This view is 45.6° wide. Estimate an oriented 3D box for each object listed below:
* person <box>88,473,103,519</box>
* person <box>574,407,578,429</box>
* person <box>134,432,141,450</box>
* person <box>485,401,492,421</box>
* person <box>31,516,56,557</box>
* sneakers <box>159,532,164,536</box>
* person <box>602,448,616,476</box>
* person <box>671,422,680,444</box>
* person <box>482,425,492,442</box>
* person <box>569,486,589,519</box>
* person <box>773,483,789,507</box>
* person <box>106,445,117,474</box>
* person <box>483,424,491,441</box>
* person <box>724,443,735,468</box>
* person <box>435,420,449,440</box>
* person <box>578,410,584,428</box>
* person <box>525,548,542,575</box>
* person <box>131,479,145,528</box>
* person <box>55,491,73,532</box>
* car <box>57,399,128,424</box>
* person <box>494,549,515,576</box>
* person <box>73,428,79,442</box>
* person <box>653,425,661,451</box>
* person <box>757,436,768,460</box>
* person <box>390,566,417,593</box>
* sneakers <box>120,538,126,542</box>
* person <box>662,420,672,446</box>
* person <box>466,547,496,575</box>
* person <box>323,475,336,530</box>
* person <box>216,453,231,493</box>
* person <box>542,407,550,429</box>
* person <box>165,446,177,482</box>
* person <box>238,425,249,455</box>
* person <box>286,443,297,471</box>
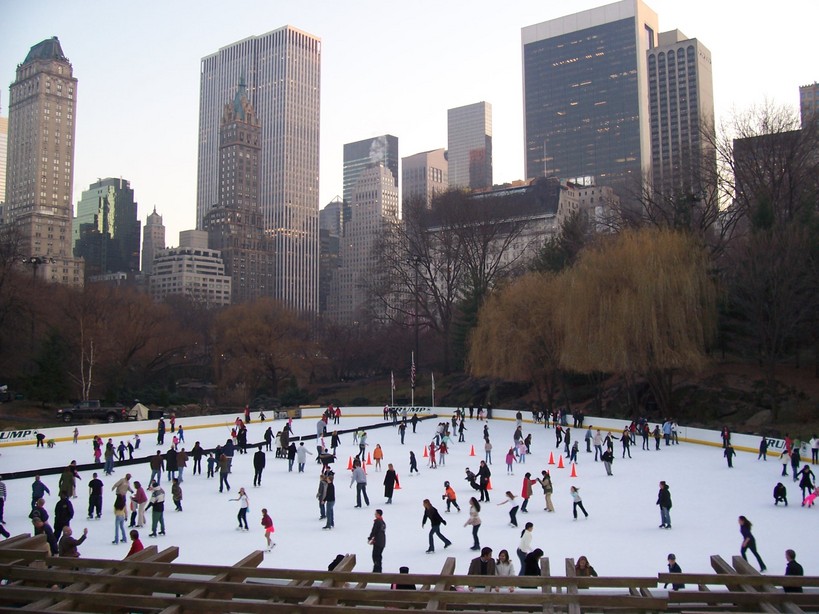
[{"bbox_3d":[-14.801,9.009,46.052,0.619,2.034,1.185,-1,-5,-19],"label":"person"},{"bbox_3d":[11.554,7.802,67.077,0.351,1.051,0.838,-3,-5,7],"label":"person"},{"bbox_3d":[-16.727,8.372,60.196,0.322,1.073,0.933,1,5,10],"label":"person"},{"bbox_3d":[6.273,8.296,76.726,0.415,1.195,1.124,-3,-5,3],"label":"person"},{"bbox_3d":[-14.913,9.424,40.031,0.888,1.541,2.291,0,-6,-22],"label":"person"},{"bbox_3d":[-11.251,10.379,44.459,0.283,0.215,0.101,6,-5,2],"label":"sneakers"},{"bbox_3d":[10.815,8.489,53.170,0.535,1.483,2.453,-3,-5,10],"label":"person"},{"bbox_3d":[16.730,7.992,61.233,0.472,1.276,1.541,-4,-5,16],"label":"person"},{"bbox_3d":[4.960,8.171,62.384,0.516,0.468,1.599,-21,-16,-3],"label":"person"},{"bbox_3d":[8.171,9.313,46.685,0.756,1.546,3.224,-3,-6,9],"label":"person"},{"bbox_3d":[17.901,9.076,47.104,0.642,1.209,2.328,-4,-6,20],"label":"person"},{"bbox_3d":[-16.168,8.279,52.802,0.474,1.657,1.890,-1,-6,-19],"label":"person"},{"bbox_3d":[4.938,8.101,62.229,0.503,0.475,1.614,-15,-6,-1],"label":"person"},{"bbox_3d":[17.809,8.302,54.325,0.449,1.240,1.772,-4,-6,16],"label":"person"},{"bbox_3d":[2.118,7.726,60.537,0.626,0.798,1.301,-1,-9,1],"label":"person"},{"bbox_3d":[11.880,7.824,67.070,0.338,1.005,1.005,-4,-5,13],"label":"person"},{"bbox_3d":[4.989,10.337,39.277,0.704,0.975,0.949,-3,-5,6],"label":"person"},{"bbox_3d":[-12.598,9.225,45.352,0.704,2.124,1.315,-1,-5,-18],"label":"person"},{"bbox_3d":[-15.150,9.076,42.898,0.701,1.544,2.709,-1,-6,-20],"label":"person"},{"bbox_3d":[-21.999,7.546,68.382,4.542,1.645,2.055,3,-12,0],"label":"car"},{"bbox_3d":[3.902,10.585,40.031,0.978,1.458,0.853,-2,-18,9],"label":"person"},{"bbox_3d":[-20.847,8.120,61.244,0.303,0.941,2.087,-1,-6,-20],"label":"person"},{"bbox_3d":[15.217,8.058,59.841,0.430,1.464,2.371,-4,-6,14],"label":"person"},{"bbox_3d":[20.009,8.043,55.251,0.569,1.338,1.525,-4,-6,19],"label":"person"},{"bbox_3d":[-0.187,10.700,38.093,0.789,1.064,0.613,1,-36,6],"label":"person"},{"bbox_3d":[-12.784,10.549,43.691,0.309,0.114,0.222,-1,-6,-18],"label":"sneakers"},{"bbox_3d":[15.967,7.881,60.492,0.575,1.518,1.025,-4,-5,15],"label":"person"},{"bbox_3d":[2.996,10.294,39.427,0.995,1.017,0.979,-3,-5,6],"label":"person"},{"bbox_3d":[-3.723,8.977,45.318,0.517,2.631,1.439,-2,-5,-7],"label":"person"},{"bbox_3d":[-9.475,8.526,50.028,0.579,1.995,1.549,-1,-5,-12],"label":"person"},{"bbox_3d":[9.966,8.107,70.363,0.462,1.169,1.895,-3,-5,8],"label":"person"},{"bbox_3d":[-12.182,8.152,50.332,0.638,1.659,2.061,-1,-6,-14],"label":"person"},{"bbox_3d":[-10.100,8.074,59.154,0.591,1.635,1.210,-2,-5,-9],"label":"person"},{"bbox_3d":[-6.462,8.362,53.824,0.443,1.564,1.431,-2,-5,-10],"label":"person"}]
